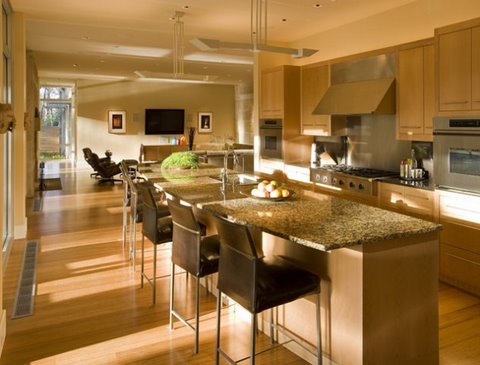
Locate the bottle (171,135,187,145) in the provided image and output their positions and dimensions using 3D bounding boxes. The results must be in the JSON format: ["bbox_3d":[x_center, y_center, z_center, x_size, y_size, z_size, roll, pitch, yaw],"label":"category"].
[{"bbox_3d":[-2.300,-1.595,14.345,0.648,0.482,0.399,2,1,2],"label":"bottle"}]

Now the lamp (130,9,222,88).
[{"bbox_3d":[-1.273,-2.629,7.484,1.751,1.607,0.636,0,13,-17],"label":"lamp"}]

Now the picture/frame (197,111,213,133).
[{"bbox_3d":[-1.468,-2.446,15.408,0.828,1.209,0.089,0,6,-14],"label":"picture/frame"}]
